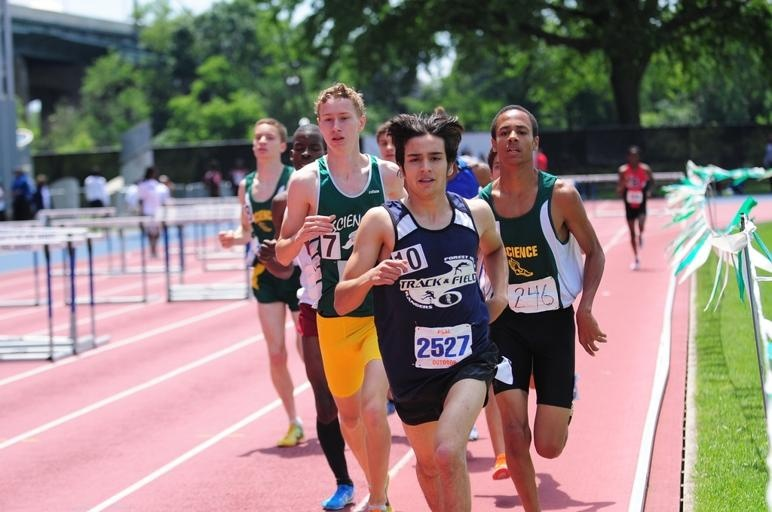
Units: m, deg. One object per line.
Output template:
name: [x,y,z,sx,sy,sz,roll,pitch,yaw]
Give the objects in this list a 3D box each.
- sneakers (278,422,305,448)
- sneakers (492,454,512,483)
sneakers: [-0.879,1.661,7.000,0.117,0.151,0.351,-9,-9,22]
sneakers: [0.906,1.682,6.012,0.144,0.158,0.365,0,-29,1]
